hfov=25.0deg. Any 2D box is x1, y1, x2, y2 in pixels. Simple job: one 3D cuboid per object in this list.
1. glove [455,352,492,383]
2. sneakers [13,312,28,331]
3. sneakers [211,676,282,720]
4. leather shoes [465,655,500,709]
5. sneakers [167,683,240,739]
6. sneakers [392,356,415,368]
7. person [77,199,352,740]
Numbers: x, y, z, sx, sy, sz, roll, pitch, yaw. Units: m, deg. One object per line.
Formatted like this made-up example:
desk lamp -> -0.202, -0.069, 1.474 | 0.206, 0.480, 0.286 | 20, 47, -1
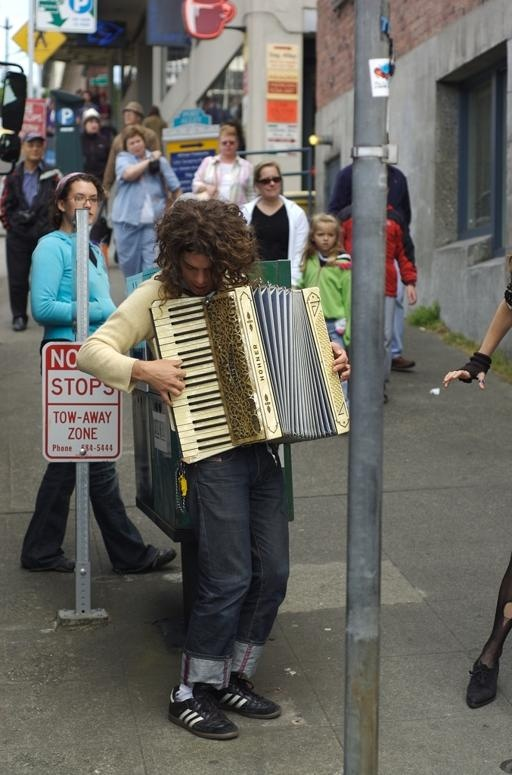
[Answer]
glove -> 0.831, -0.077, 4.467 | 0.144, 0.064, 0.104 | -42, 63, -14
sneakers -> -2.302, -0.644, 11.300 | 0.177, 0.207, 0.530 | 1, 0, -12
sneakers -> -0.031, 1.114, 4.184 | 0.296, 0.130, 0.100 | 5, 10, 22
leather shoes -> 0.809, 1.068, 4.207 | 0.074, 0.075, 0.204 | 6, 37, 19
sneakers -> -0.197, 1.103, 4.052 | 0.298, 0.158, 0.117 | 10, 11, 40
sneakers -> 1.210, -0.214, 9.747 | 0.233, 0.100, 0.078 | 0, 14, 17
person -> -0.223, 0.272, 4.001 | 0.656, 1.806, 0.539 | -1, 13, 1
